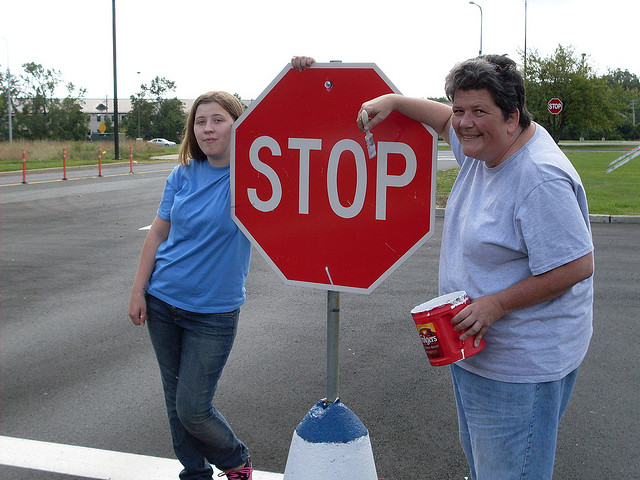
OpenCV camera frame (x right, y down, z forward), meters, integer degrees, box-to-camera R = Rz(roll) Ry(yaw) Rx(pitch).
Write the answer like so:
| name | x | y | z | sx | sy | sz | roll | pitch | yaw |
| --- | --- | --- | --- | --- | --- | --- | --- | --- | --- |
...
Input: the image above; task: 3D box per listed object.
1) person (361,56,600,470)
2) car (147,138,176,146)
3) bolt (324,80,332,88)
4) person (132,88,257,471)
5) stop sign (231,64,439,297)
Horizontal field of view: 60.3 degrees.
| name | x | y | z | sx | sy | sz | roll | pitch | yaw |
| --- | --- | --- | --- | --- | --- | --- | --- | --- | --- |
| person | 0.721 | 0.331 | 2.541 | 0.917 | 2.195 | 0.933 | -1 | 7 | -7 |
| car | -19.691 | -12.259 | 68.555 | 2.262 | 0.822 | 5.437 | -4 | 10 | -20 |
| bolt | 0.034 | -0.639 | 2.264 | 0.022 | 0.025 | 0.014 | 23 | 2 | 4 |
| person | -0.707 | 0.251 | 3.107 | 0.688 | 2.140 | 0.488 | 1 | 8 | 15 |
| stop sign | 0.043 | -0.258 | 2.288 | 0.925 | 1.151 | 0.041 | -1 | 4 | 10 |
